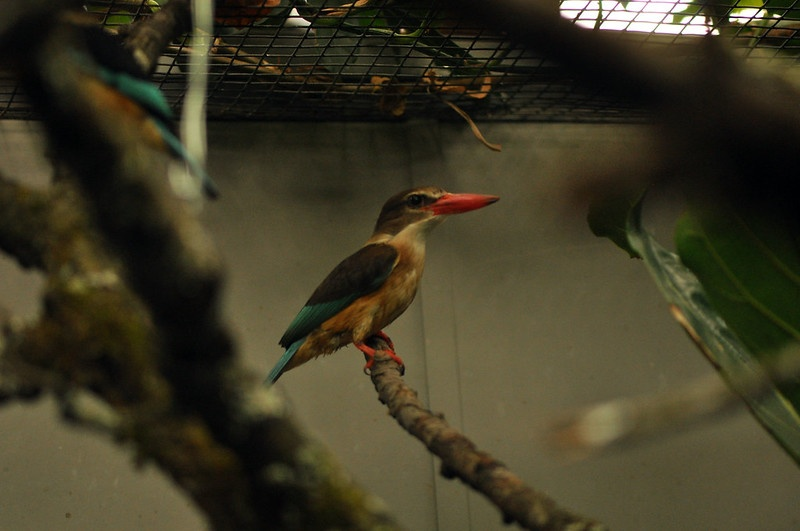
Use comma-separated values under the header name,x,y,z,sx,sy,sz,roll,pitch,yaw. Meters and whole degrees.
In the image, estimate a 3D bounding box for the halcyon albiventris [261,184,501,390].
name,x,y,z,sx,sy,sz,roll,pitch,yaw
halcyon albiventris,-0.060,0.044,1.764,0.405,0.367,0.177,-5,-16,11
